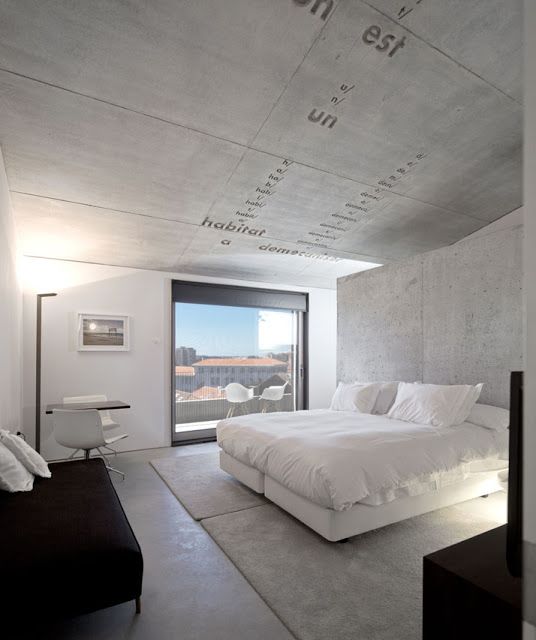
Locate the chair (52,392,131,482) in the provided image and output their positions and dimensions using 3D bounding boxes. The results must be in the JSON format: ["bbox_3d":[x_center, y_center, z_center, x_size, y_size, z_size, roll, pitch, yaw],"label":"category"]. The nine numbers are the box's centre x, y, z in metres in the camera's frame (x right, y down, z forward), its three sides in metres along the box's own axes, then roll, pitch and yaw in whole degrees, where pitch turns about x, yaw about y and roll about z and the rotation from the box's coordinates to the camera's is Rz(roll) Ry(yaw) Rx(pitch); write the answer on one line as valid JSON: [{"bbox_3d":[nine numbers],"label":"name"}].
[{"bbox_3d":[-1.805,0.999,4.314,0.794,0.925,0.819,1,0,-1],"label":"chair"}]
